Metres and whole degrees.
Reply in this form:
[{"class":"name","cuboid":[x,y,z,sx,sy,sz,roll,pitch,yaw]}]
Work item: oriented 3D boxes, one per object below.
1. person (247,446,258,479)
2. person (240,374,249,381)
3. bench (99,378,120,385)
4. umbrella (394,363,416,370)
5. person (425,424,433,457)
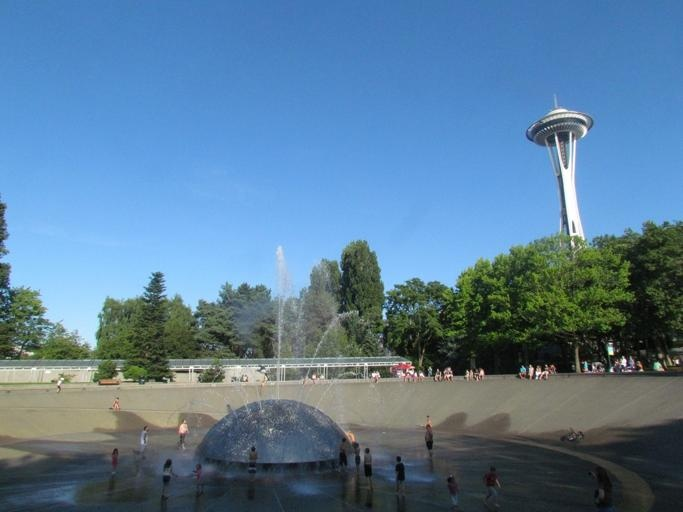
[{"class":"person","cuboid":[-4.767,11.077,25.288,0.502,1.613,1.138,0,-4,-10]},{"class":"person","cuboid":[-10.918,13.834,53.365,0.566,0.921,2.921,1,-5,-17]},{"class":"bench","cuboid":[-27.178,14.723,54.755,3.240,0.642,1.592,-3,-5,28]},{"class":"umbrella","cuboid":[8.842,15.656,66.866,1.780,0.977,2.732,-1,-8,21]},{"class":"person","cuboid":[5.623,11.855,30.092,0.399,1.734,1.984,-1,-4,14]}]
